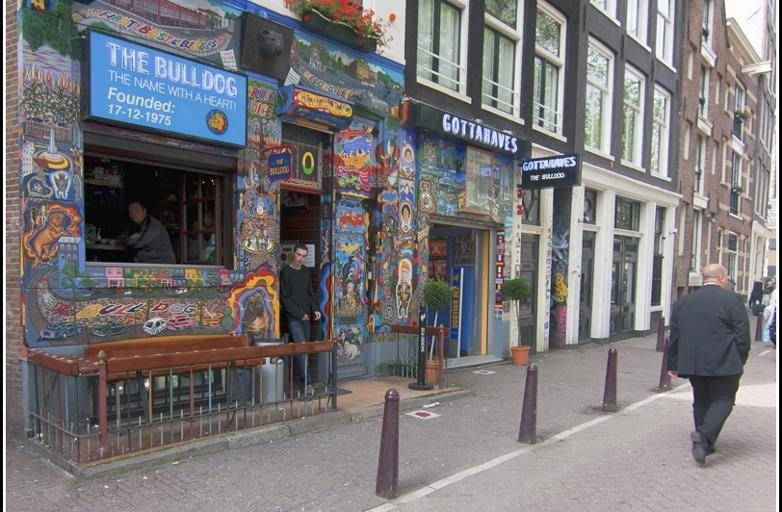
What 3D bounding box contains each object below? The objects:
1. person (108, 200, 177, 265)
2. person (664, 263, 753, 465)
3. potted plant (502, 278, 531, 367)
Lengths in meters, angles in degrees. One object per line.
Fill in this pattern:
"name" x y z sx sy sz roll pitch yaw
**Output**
"person" -4.415 -0.400 13.847 1.153 1.084 0.715 10 12 41
"person" 5.050 1.669 12.469 1.137 2.940 1.048 -4 11 -31
"potted plant" 3.041 1.515 18.842 0.718 2.083 1.436 3 9 8
